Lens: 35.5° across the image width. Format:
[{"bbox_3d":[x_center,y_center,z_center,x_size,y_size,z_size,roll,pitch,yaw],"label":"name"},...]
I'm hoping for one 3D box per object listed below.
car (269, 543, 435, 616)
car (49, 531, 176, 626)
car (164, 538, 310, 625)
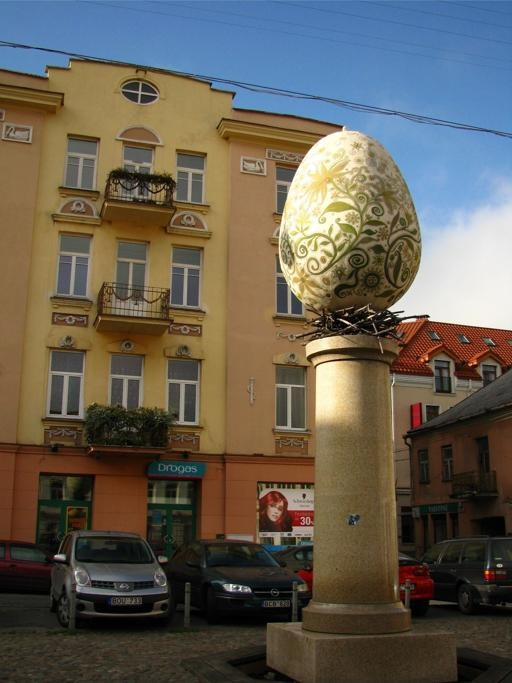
[{"bbox_3d":[1.609,4.980,17.258,2.167,1.368,4.648,13,-21,-37],"label":"car"},{"bbox_3d":[-2.276,3.654,12.417,1.711,1.312,1.977,3,-14,-13],"label":"car"},{"bbox_3d":[-0.448,4.028,13.673,1.345,0.847,2.733,7,-20,-18],"label":"car"}]
